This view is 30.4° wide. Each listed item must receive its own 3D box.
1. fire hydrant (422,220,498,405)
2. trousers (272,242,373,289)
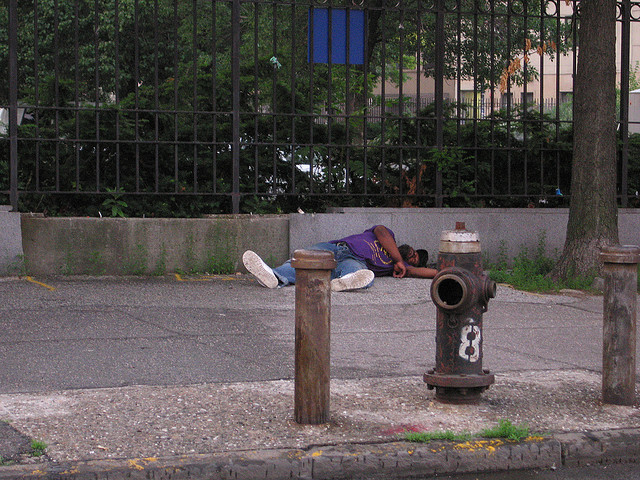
[{"bbox_3d":[1.491,0.753,12.899,0.834,1.870,1.106,1,5,11],"label":"fire hydrant"},{"bbox_3d":[0.042,0.386,17.293,1.412,0.643,0.887,-1,4,1],"label":"trousers"}]
